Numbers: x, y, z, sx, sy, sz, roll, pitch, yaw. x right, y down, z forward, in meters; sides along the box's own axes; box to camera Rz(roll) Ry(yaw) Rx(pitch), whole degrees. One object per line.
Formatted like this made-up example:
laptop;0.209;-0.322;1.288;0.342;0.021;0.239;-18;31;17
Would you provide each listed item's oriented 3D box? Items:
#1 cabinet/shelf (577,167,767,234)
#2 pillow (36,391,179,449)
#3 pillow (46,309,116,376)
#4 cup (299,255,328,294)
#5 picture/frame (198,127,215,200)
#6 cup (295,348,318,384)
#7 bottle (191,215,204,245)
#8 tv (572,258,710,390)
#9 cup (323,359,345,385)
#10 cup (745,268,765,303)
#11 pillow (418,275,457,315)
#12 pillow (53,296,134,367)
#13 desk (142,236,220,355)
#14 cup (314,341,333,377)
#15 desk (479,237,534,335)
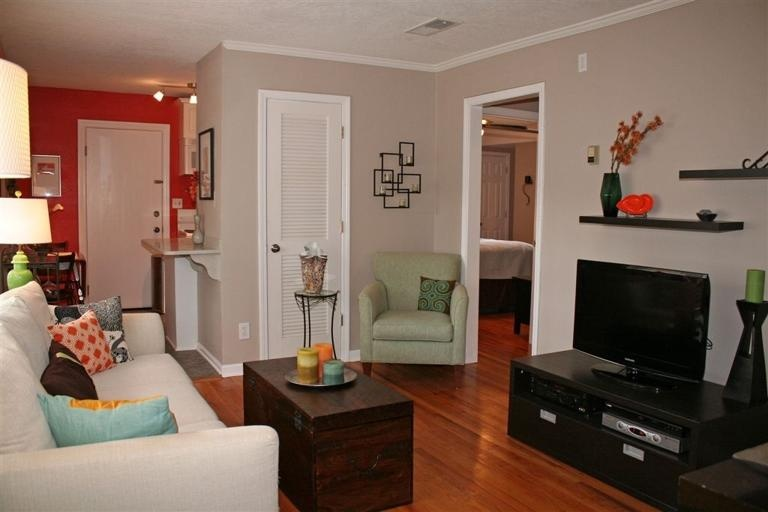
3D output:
cabinet/shelf;2.109;-0.394;3.935;0.330;0.466;1.111;-7;12;-39
pillow;-1.274;0.743;2.489;0.335;0.099;0.324;2;2;-13
pillow;-2.018;0.616;3.692;0.261;0.390;0.462;10;9;1
cup;-0.660;0.175;5.162;0.364;0.398;0.325;1;-3;10
picture/frame;-1.753;-0.909;5.441;0.044;0.868;0.788;1;1;-25
cup;-0.468;0.682;3.500;0.170;0.179;0.169;1;2;0
bottle;-1.870;-0.268;5.533;0.110;0.268;0.328;-3;10;-18
tv;1.682;0.480;3.864;0.972;0.791;0.381;10;-9;-6
cup;-0.296;0.721;3.462;0.147;0.152;0.139;0;1;0
cup;2.348;0.179;3.457;0.099;0.192;0.198;8;12;34
pillow;0.519;0.383;5.367;0.489;0.441;0.131;-12;-12;35
pillow;-2.090;0.544;3.841;0.530;0.440;0.245;0;10;-42
desk;-2.447;0.371;6.543;0.697;1.088;2.178;-2;6;-27
cup;-0.367;0.661;3.598;0.175;0.187;0.170;1;8;0
desk;1.454;0.264;7.280;1.012;1.008;1.435;0;2;17
